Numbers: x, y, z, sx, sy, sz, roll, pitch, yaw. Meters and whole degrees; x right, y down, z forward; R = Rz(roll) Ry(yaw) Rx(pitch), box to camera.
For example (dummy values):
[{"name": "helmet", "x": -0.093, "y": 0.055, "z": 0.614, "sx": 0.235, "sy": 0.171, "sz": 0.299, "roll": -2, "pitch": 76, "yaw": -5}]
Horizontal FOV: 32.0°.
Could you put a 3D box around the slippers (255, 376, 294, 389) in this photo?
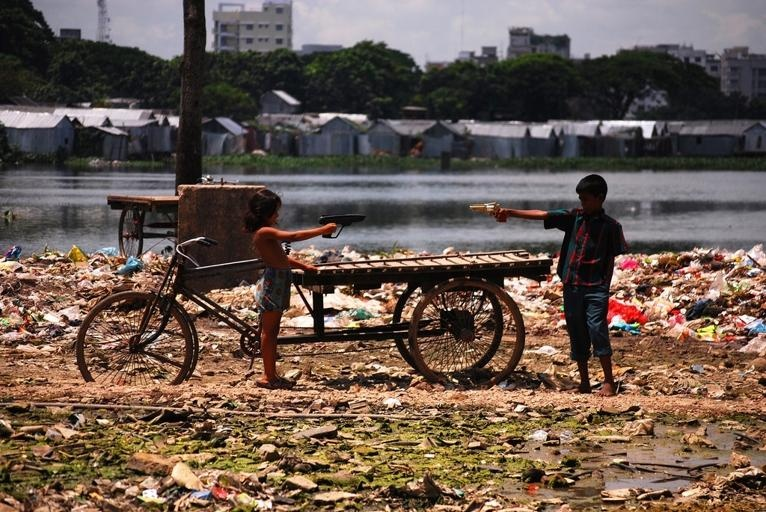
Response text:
[{"name": "slippers", "x": -3.200, "y": 3.674, "z": 39.500, "sx": 1.167, "sy": 0.318, "sz": 0.400, "roll": -1, "pitch": -1, "yaw": -1}]
